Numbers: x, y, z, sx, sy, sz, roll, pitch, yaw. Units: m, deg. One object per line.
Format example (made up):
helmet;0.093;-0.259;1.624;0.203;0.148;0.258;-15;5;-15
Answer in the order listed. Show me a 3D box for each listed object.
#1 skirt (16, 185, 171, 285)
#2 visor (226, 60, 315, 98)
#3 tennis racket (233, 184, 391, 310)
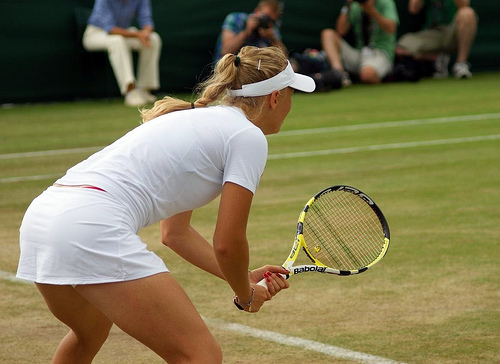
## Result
skirt;-0.676;0.227;3.260;0.640;0.357;0.410;9;3;37
visor;0.126;-0.448;3.510;0.300;0.092;0.188;-9;12;-11
tennis racket;0.300;0.441;4.338;0.469;1.168;0.096;43;45;-4
